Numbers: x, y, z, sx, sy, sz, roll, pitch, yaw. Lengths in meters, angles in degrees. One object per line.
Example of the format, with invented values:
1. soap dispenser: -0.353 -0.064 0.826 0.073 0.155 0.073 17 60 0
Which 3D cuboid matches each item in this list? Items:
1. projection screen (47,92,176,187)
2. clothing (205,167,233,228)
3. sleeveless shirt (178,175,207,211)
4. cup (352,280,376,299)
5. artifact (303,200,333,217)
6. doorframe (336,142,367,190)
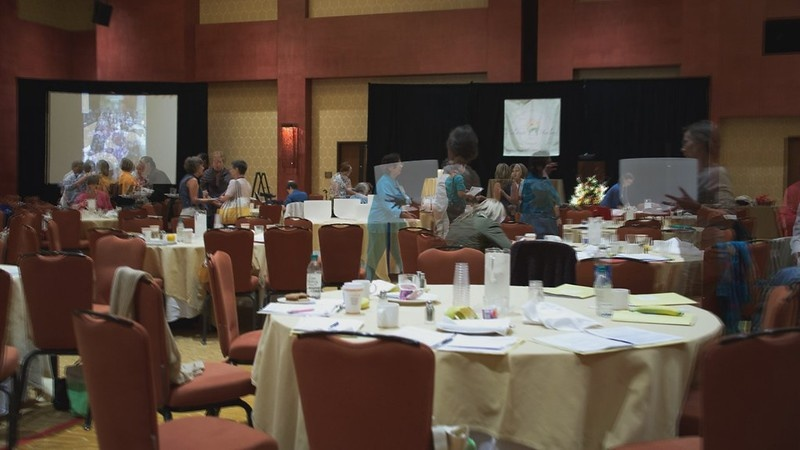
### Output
1. projection screen: -6.505 -2.043 14.314 2.537 1.833 0.101 0 2 0
2. clothing: -3.128 -0.415 10.731 0.559 1.351 0.332 1 43 -16
3. sleeveless shirt: -3.394 -0.571 10.307 0.467 0.791 0.696 2 9 -25
4. cup: -0.293 0.519 5.177 0.180 0.126 0.114 6 -8 -43
5. artifact: -1.196 -0.319 9.231 0.415 0.282 0.228 1 7 1
6. doorframe: -1.194 -1.550 15.037 0.651 0.080 1.160 -6 45 4
